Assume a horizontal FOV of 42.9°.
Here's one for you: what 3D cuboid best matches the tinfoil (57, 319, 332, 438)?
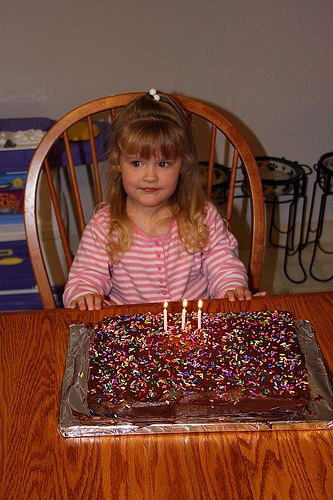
[{"bbox_3d":[0.036,0.164,0.588,0.385,0.043,0.222,0,27,-1],"label":"tinfoil"}]
